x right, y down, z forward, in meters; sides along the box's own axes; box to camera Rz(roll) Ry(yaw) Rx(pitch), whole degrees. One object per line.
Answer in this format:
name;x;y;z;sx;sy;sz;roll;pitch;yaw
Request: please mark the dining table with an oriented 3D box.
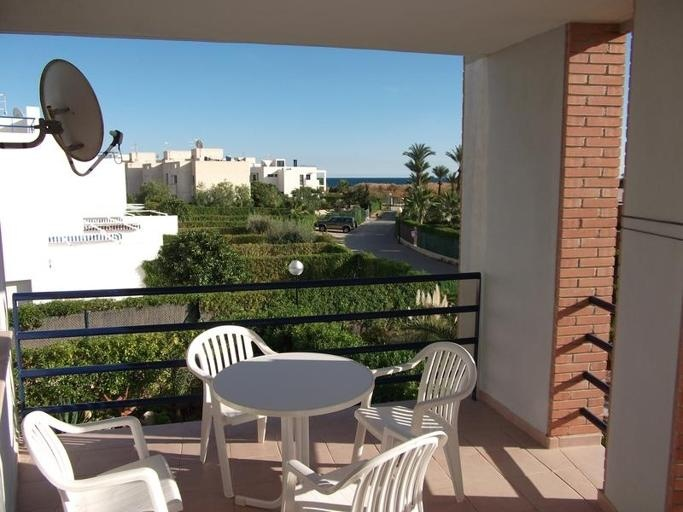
dining table;-0.303;0.755;3.394;0.813;0.788;0.855;-5;13;-24
